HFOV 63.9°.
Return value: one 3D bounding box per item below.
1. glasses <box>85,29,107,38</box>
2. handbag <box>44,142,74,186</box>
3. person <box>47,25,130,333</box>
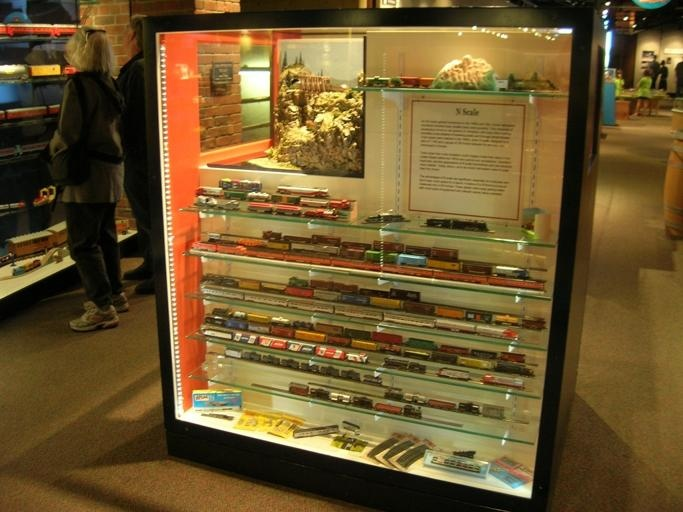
[{"bbox_3d":[-1.878,-1.707,4.215,0.097,0.069,0.199,2,17,2],"label":"glasses"},{"bbox_3d":[-2.164,-0.689,4.203,0.150,0.328,0.277,-13,23,-35],"label":"handbag"},{"bbox_3d":[-2.031,-0.576,4.420,0.449,2.372,0.648,4,19,6],"label":"person"}]
